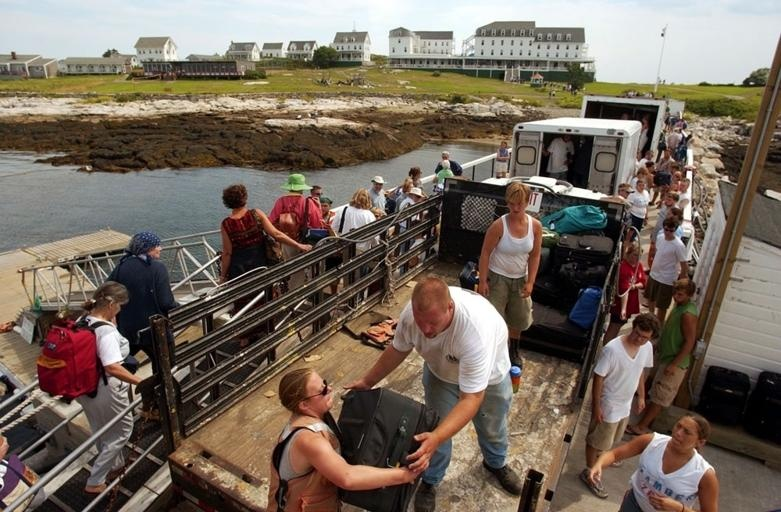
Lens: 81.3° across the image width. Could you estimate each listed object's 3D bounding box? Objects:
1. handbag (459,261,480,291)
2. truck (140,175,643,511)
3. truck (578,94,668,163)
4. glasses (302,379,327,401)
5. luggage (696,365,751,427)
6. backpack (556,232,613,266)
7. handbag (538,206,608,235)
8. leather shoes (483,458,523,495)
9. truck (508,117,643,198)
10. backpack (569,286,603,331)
[{"bbox_3d":[1.291,0.366,7.427,0.240,0.270,0.420,19,-11,9],"label":"handbag"},{"bbox_3d":[0.234,1.574,7.512,3.933,2.526,6.847,15,31,32],"label":"truck"},{"bbox_3d":[10.371,-5.694,20.481,3.207,2.579,4.341,13,33,23],"label":"truck"},{"bbox_3d":[-0.668,1.238,4.127,0.158,0.043,0.147,-15,10,4],"label":"glasses"},{"bbox_3d":[5.544,2.320,7.560,0.603,0.829,0.501,8,18,25],"label":"luggage"},{"bbox_3d":[3.489,-0.120,8.176,0.756,0.230,0.603,7,27,22],"label":"backpack"},{"bbox_3d":[3.596,-0.673,8.972,0.918,0.311,0.690,3,23,29],"label":"handbag"},{"bbox_3d":[1.321,2.581,5.322,0.501,0.193,0.187,34,61,29],"label":"leather shoes"},{"bbox_3d":[5.799,-2.961,13.826,2.220,1.825,3.460,13,29,28],"label":"truck"},{"bbox_3d":[3.086,0.872,7.182,0.412,0.694,0.488,26,0,39],"label":"backpack"}]
